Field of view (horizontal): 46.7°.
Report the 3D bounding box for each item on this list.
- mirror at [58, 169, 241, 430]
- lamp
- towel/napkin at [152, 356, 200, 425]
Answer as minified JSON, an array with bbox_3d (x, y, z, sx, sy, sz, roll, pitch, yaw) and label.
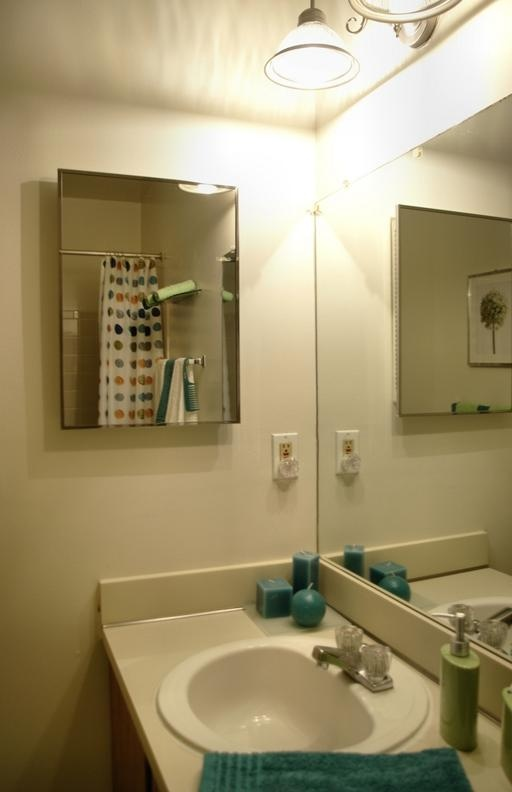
[{"bbox_3d":[-0.250,-0.213,1.299,0.446,0.826,0.013,-1,1,-22],"label":"mirror"},{"bbox_3d":[0.107,-0.636,1.131,0.147,0.210,0.170,-1,8,-8],"label":"lamp"},{"bbox_3d":[-0.185,-0.015,1.326,0.117,0.183,0.063,-1,1,-32],"label":"towel/napkin"}]
